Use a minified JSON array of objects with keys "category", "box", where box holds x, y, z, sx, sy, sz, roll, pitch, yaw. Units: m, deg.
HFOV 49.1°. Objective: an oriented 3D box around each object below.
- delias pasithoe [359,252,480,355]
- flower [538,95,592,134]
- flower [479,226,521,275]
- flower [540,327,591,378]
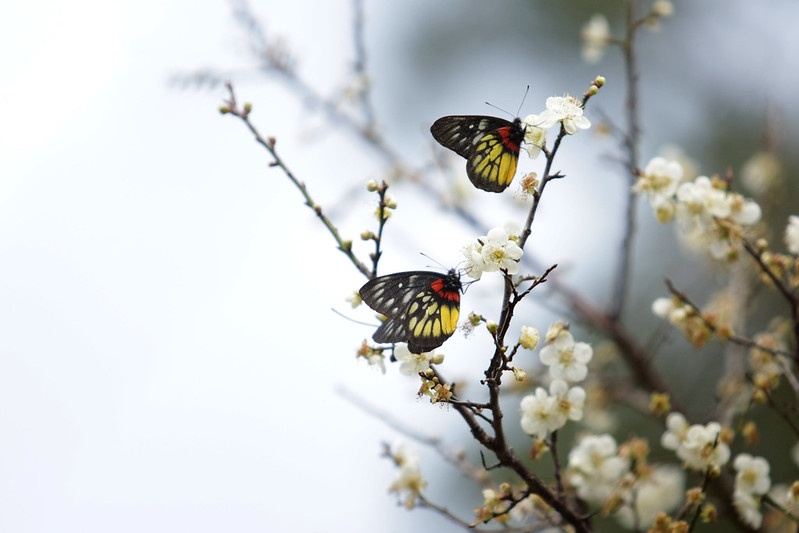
[{"category":"delias pasithoe","box":[0.105,0.252,5.297,0.579,0.400,0.543,-43,-10,2]},{"category":"flower","box":[0.975,-0.906,5.275,0.271,0.235,0.122,-6,-46,-14]},{"category":"flower","box":[0.621,-0.126,5.154,0.272,0.261,0.090,-24,-25,-23]},{"category":"flower","box":[1.033,0.566,5.480,0.300,0.242,0.277,19,-58,-31]}]
